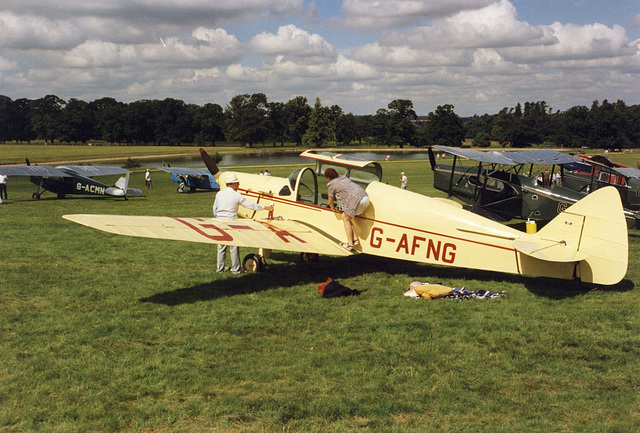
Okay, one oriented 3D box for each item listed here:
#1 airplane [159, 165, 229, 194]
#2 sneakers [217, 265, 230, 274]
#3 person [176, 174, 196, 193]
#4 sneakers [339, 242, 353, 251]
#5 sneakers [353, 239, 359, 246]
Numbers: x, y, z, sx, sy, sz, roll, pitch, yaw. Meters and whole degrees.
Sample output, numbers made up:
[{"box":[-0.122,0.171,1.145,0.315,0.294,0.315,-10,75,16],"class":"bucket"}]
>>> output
[{"box":[-6.391,-1.773,31.303,2.955,0.802,3.094,14,6,23],"class":"airplane"},{"box":[-2.278,1.248,14.940,0.237,0.096,0.223,-10,-10,30],"class":"sneakers"},{"box":[-7.304,-1.777,34.517,0.607,0.868,1.170,-3,2,10],"class":"person"},{"box":[0.626,0.693,14.548,0.359,0.114,0.131,18,1,19],"class":"sneakers"},{"box":[0.838,0.589,14.558,0.122,0.108,0.166,-3,-19,6],"class":"sneakers"}]
